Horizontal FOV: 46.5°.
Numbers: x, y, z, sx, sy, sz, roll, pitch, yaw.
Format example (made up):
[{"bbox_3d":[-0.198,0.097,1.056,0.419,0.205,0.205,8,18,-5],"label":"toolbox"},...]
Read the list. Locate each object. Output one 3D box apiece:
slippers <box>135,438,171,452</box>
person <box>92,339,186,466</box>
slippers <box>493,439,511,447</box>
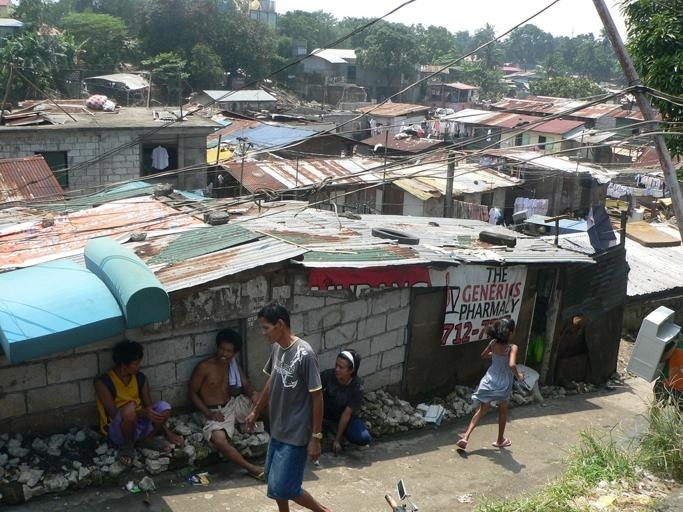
[{"bbox_3d":[-2.315,2.364,9.956,0.330,0.086,0.184,9,5,-3],"label":"slippers"},{"bbox_3d":[-2.558,1.768,9.941,0.930,1.396,0.665,-3,13,-21],"label":"person"},{"bbox_3d":[2.274,2.628,11.140,0.209,0.055,0.102,-2,5,-11],"label":"slippers"}]
